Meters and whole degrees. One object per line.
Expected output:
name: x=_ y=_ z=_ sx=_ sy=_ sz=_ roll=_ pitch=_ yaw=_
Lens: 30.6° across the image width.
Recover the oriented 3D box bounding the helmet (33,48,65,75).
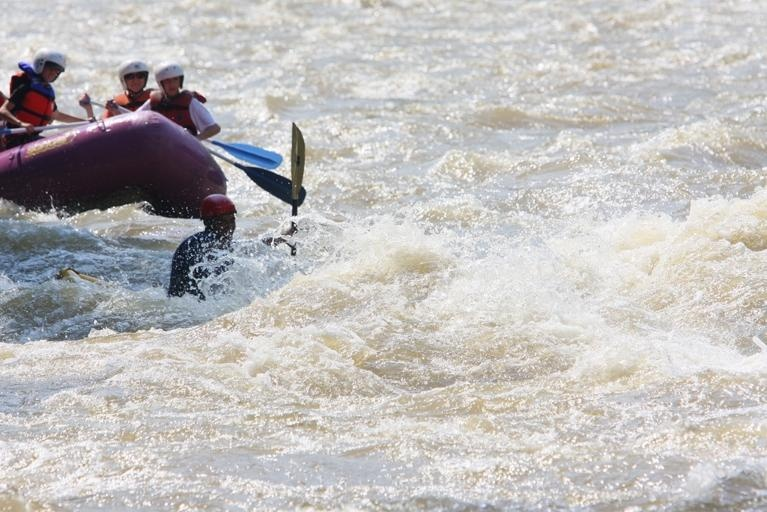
helmet: x=-4.691 y=-2.738 z=19.790 sx=0.530 sy=0.274 sz=0.352 roll=2 pitch=34 yaw=-7

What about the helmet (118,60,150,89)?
helmet: x=-3.603 y=-2.628 z=20.193 sx=0.397 sy=0.273 sz=0.477 roll=-16 pitch=5 yaw=-32

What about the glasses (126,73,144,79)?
glasses: x=-3.535 y=-2.570 z=20.039 sx=0.164 sy=0.031 sz=0.150 roll=-8 pitch=-5 yaw=-29

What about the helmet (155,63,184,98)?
helmet: x=-3.009 y=-2.498 z=19.828 sx=0.402 sy=0.456 sz=0.280 roll=-11 pitch=34 yaw=-15

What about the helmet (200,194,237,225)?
helmet: x=-2.070 y=-0.593 z=17.529 sx=0.414 sy=0.341 sz=0.241 roll=-13 pitch=34 yaw=-19
